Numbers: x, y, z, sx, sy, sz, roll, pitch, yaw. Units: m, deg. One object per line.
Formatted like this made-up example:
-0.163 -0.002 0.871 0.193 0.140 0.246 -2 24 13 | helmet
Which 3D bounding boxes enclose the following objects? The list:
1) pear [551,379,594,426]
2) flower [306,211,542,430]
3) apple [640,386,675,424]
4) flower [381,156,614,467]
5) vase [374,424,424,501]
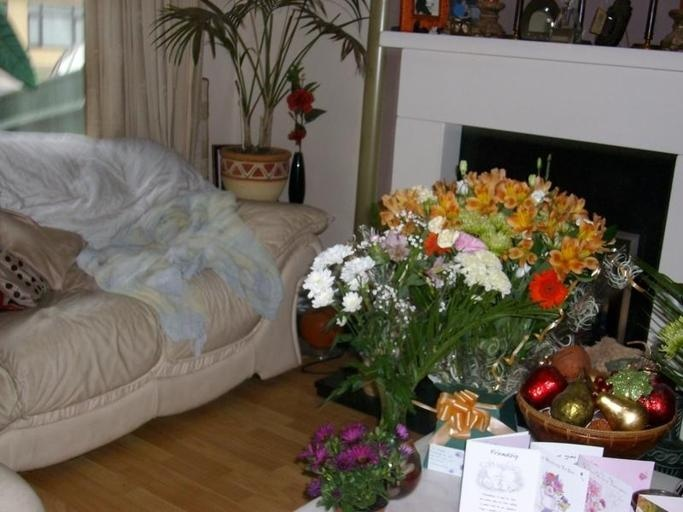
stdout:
0.472 0.327 1.113 0.077 0.080 0.107 -18 23 37 | pear
0.194 0.074 1.200 0.433 0.479 0.449 0 14 16 | flower
0.647 0.310 1.087 0.043 0.053 0.044 -21 56 -13 | apple
0.366 0.088 1.250 0.506 0.557 0.532 1 4 -11 | flower
0.121 0.427 1.147 0.132 0.173 0.139 -1 1 3 | vase
